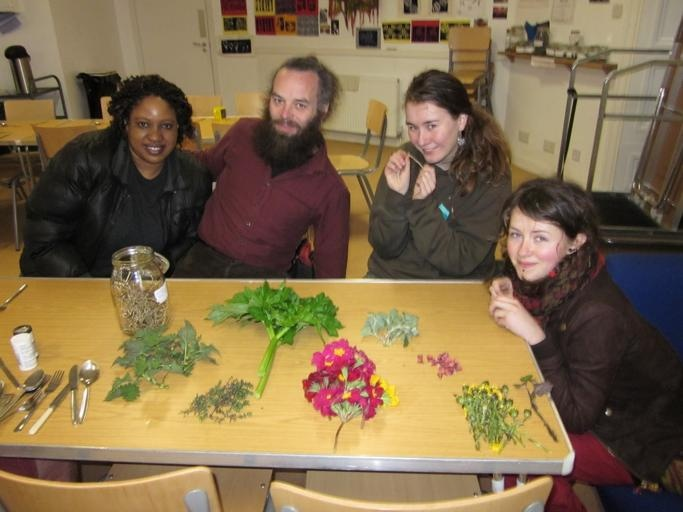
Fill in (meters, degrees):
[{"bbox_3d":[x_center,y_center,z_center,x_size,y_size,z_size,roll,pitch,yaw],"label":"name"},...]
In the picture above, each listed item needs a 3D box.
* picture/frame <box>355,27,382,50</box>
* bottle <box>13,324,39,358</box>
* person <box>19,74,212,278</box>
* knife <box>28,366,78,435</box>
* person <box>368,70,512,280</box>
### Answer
[{"bbox_3d":[0.386,-3.013,6.304,0.283,0.257,0.038,5,24,16],"label":"picture/frame"},{"bbox_3d":[-1.018,0.277,1.487,0.061,0.111,0.065,3,32,-2],"label":"bottle"},{"bbox_3d":[-1.102,-0.390,2.256,0.921,0.945,0.372,-14,25,-34],"label":"person"},{"bbox_3d":[-0.837,0.426,1.391,0.032,0.034,0.240,33,33,-5],"label":"knife"},{"bbox_3d":[0.453,-0.354,2.174,0.652,0.984,0.446,8,22,19],"label":"person"}]
